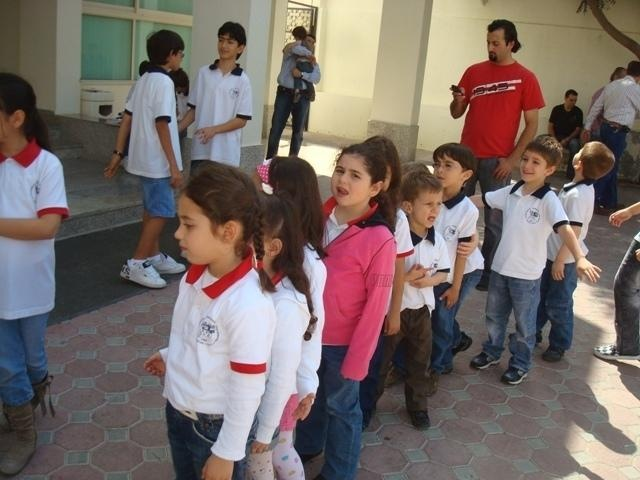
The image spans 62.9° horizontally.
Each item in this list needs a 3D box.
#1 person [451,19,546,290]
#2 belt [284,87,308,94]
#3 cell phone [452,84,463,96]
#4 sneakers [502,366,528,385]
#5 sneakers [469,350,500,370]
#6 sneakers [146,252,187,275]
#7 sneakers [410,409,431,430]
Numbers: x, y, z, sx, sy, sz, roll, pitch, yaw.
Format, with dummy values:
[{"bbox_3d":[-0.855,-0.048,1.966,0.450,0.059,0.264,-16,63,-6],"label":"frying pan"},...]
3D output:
[{"bbox_3d":[1.612,-0.820,5.040,0.797,2.471,0.642,10,14,31],"label":"person"},{"bbox_3d":[-0.345,-2.274,8.017,0.220,0.078,0.166,0,18,-11],"label":"belt"},{"bbox_3d":[1.255,-1.398,4.882,0.058,0.076,0.203,-5,6,38],"label":"cell phone"},{"bbox_3d":[1.397,0.979,3.768,0.218,0.097,0.092,1,3,-41],"label":"sneakers"},{"bbox_3d":[1.262,0.910,3.972,0.245,0.111,0.099,1,1,-27],"label":"sneakers"},{"bbox_3d":[-1.403,0.213,4.761,0.334,0.133,0.125,19,27,-30],"label":"sneakers"},{"bbox_3d":[0.623,1.102,3.213,0.062,0.061,0.139,-3,3,-13],"label":"sneakers"}]
